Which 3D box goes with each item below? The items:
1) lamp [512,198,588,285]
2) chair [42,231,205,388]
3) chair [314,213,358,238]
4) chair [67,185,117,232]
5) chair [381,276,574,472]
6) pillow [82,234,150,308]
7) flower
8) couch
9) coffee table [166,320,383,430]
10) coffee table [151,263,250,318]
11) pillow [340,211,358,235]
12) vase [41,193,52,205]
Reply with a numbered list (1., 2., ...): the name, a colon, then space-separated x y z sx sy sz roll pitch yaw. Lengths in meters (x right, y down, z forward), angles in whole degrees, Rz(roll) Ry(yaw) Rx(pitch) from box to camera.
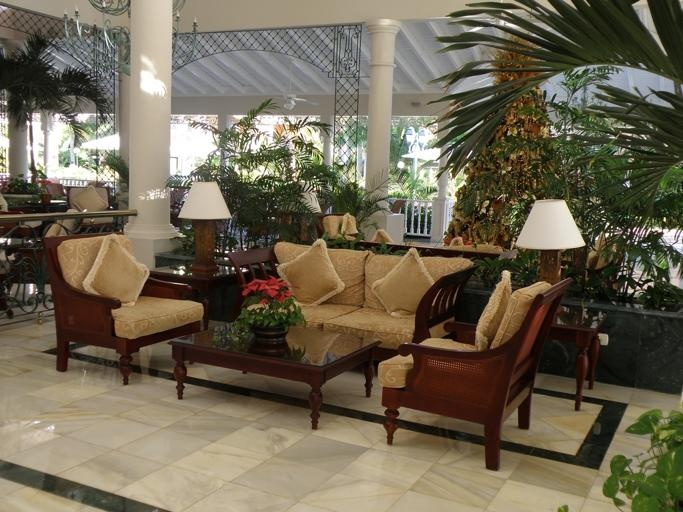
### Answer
1. lamp: 1.781 -0.075 4.047 0.512 0.757 0.493 -6 7 -18
2. chair: -2.085 0.461 4.676 1.261 1.180 1.133 8 8 37
3. chair: -0.017 -0.490 7.589 0.539 0.423 0.508 -1 0 -22
4. chair: -5.199 -0.875 10.081 0.805 1.036 0.900 -8 28 -36
5. chair: 0.923 0.753 3.430 1.083 1.081 0.852 0 2 30
6. pillow: -2.323 0.149 4.611 0.733 0.762 0.178 0 -26 18
7. flower: -0.637 0.362 3.982 0.480 0.316 0.501 7 8 40
8. couch: 0.058 0.424 4.825 2.461 0.983 0.881 3 8 33
9. coffee table: -0.529 0.941 3.960 1.516 0.524 0.869 4 7 17
10. coffee table: -1.675 0.399 5.500 0.943 0.513 0.980 -20 -26 32
11. pillow: 0.103 -0.535 7.814 0.291 0.201 0.459 10 26 -8
12. vase: -6.374 -1.236 10.354 0.173 0.238 0.465 -2 8 -33
